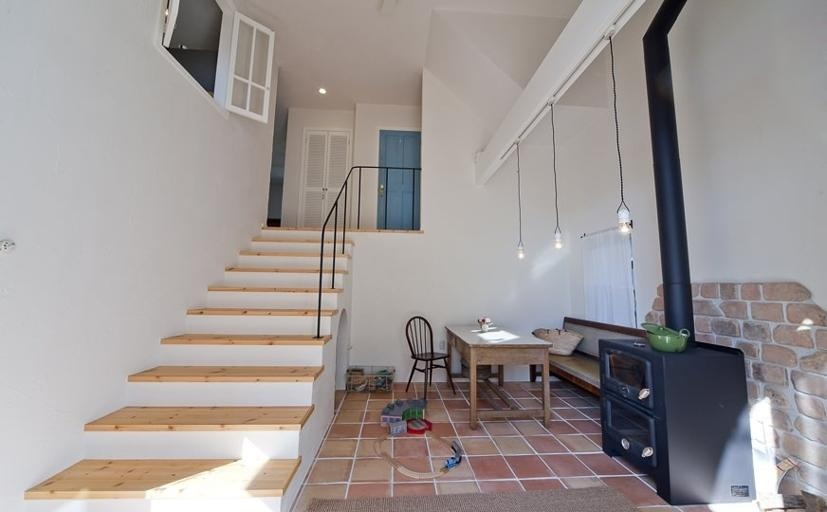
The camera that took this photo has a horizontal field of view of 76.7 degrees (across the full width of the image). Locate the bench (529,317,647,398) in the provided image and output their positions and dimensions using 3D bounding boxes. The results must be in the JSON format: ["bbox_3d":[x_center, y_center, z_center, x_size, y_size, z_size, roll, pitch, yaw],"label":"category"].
[{"bbox_3d":[2.265,1.392,6.879,0.617,0.927,1.605,-9,7,-23],"label":"bench"}]

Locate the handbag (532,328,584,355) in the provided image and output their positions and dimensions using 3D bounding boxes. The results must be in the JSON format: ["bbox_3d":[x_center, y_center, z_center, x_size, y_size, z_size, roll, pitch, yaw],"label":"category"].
[{"bbox_3d":[2.000,1.129,7.342,0.465,0.164,0.481,-19,18,-25],"label":"handbag"}]

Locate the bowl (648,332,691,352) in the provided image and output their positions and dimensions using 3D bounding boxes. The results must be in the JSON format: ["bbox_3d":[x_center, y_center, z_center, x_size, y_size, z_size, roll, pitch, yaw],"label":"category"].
[{"bbox_3d":[2.484,0.815,5.129,0.268,0.115,0.222,-6,-4,41],"label":"bowl"}]

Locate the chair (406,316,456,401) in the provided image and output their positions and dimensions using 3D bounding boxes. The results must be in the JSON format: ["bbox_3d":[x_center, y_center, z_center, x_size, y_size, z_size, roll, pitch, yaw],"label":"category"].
[{"bbox_3d":[0.208,1.349,7.172,0.591,0.998,0.579,1,0,41],"label":"chair"}]
